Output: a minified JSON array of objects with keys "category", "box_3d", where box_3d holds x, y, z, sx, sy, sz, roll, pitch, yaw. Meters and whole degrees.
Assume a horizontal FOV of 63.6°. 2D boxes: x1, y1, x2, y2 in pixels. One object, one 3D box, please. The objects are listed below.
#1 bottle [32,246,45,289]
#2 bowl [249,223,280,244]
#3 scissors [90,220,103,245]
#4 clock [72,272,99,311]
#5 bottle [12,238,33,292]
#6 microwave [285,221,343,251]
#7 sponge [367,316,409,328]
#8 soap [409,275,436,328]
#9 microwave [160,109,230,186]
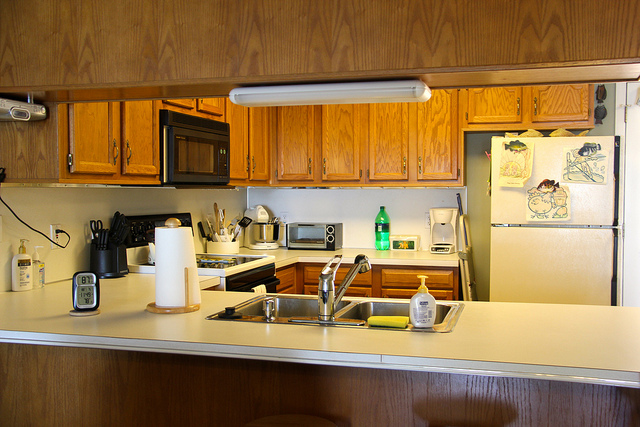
[{"category":"bottle","box_3d":[-1.616,0.305,2.973,0.065,0.232,0.120,-4,9,-25]},{"category":"bowl","box_3d":[-0.509,0.185,4.797,0.188,0.154,0.231,0,-3,-5]},{"category":"scissors","box_3d":[-1.414,0.117,3.278,0.076,0.154,0.011,-4,0,26]},{"category":"clock","box_3d":[-1.113,0.369,2.486,0.118,0.181,0.099,-2,-4,-20]},{"category":"bottle","box_3d":[-1.660,0.292,2.886,0.067,0.278,0.103,8,12,44]},{"category":"microwave","box_3d":[-0.053,0.202,4.692,0.514,0.254,0.262,0,8,2]},{"category":"sponge","box_3d":[0.299,0.483,2.299,0.175,0.031,0.063,1,8,5]},{"category":"soap","box_3d":[0.449,0.385,2.273,0.127,0.238,0.064,1,1,-4]},{"category":"microwave","box_3d":[-0.962,-0.425,3.540,0.388,0.459,0.688,4,5,22]}]
